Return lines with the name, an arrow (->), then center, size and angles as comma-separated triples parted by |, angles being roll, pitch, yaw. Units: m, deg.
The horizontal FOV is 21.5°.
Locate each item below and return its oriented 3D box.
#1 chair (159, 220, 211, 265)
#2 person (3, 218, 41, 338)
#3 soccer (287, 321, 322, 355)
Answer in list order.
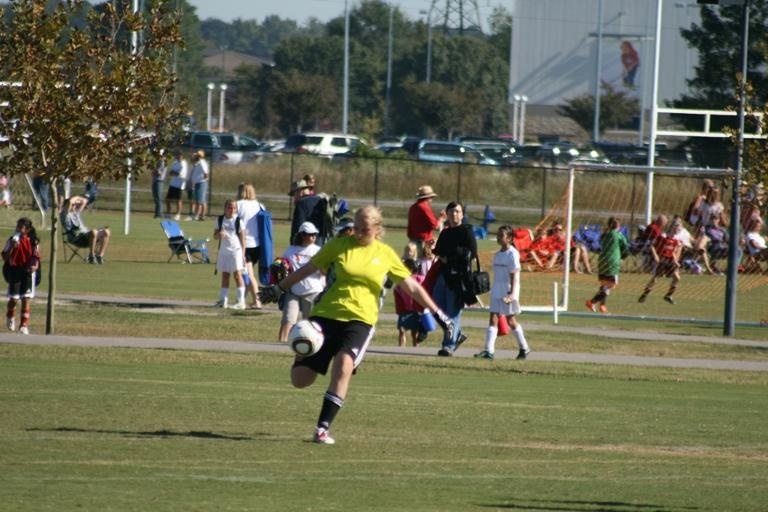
chair -> -6.492, -0.503, 66.180 | 1.566, 1.377, 2.015 | 0, 2, -6
person -> -10.136, 0.445, 56.368 | 1.216, 3.620, 0.871 | 1, 3, -17
soccer -> -2.036, 2.040, 50.351 | 0.854, 0.887, 0.677 | 1, 11, -37
